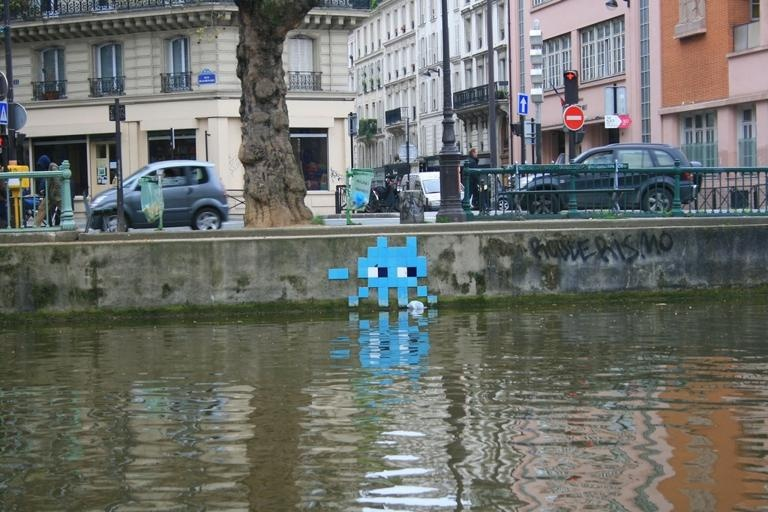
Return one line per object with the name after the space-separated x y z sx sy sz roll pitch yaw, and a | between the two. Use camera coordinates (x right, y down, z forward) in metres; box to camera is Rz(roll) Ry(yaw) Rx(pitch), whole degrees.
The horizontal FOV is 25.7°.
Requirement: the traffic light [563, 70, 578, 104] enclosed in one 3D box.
5.072 -4.567 45.951 0.333 0.934 0.768 -2 1 2 | traffic light

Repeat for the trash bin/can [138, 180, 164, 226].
-5.495 -1.250 39.450 0.466 0.854 0.928 -2 1 -9 | trash bin/can

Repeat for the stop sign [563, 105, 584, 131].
5.070 -3.714 45.390 0.528 0.742 0.943 -2 1 5 | stop sign

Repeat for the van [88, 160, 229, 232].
-6.295 -1.668 46.806 3.521 1.773 1.951 0 1 -11 | van

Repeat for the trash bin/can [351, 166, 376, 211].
-0.617 -1.660 42.083 0.569 0.662 0.869 -2 1 -1 | trash bin/can
